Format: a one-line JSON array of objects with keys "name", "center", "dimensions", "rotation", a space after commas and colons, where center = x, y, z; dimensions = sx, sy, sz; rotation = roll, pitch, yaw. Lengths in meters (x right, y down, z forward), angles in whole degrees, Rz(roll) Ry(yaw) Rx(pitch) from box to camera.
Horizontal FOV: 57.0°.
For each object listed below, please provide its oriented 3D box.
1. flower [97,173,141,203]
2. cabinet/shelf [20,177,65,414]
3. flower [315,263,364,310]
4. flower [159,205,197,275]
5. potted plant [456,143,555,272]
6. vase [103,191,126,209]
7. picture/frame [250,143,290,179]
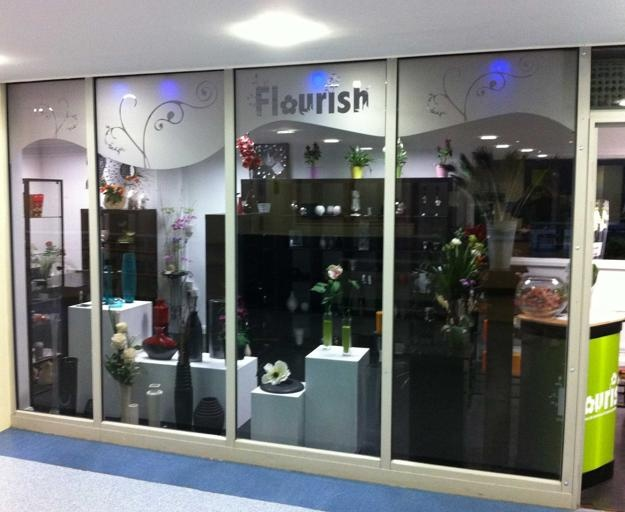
[{"name": "flower", "center": [-1.505, -0.527, 4.509], "dimensions": [0.379, 0.235, 0.080], "rotation": [6, 11, 27]}, {"name": "cabinet/shelf", "center": [-2.209, 0.325, 4.743], "dimensions": [0.396, 1.894, 0.244], "rotation": [3, 10, 15]}, {"name": "flower", "center": [0.160, 0.201, 4.127], "dimensions": [0.301, 0.276, 0.301], "rotation": [-8, 22, -26]}, {"name": "flower", "center": [-1.020, -0.120, 4.386], "dimensions": [0.275, 0.495, 0.064], "rotation": [2, 10, 11]}, {"name": "potted plant", "center": [1.290, -0.304, 3.931], "dimensions": [0.612, 0.818, 0.656], "rotation": [-1, 3, -40]}, {"name": "vase", "center": [-1.562, -0.439, 4.526], "dimensions": [0.145, 0.086, 0.147], "rotation": [-2, -5, 40]}, {"name": "picture/frame", "center": [-0.295, -0.695, 4.167], "dimensions": [0.244, 0.241, 0.034], "rotation": [6, 8, 27]}]
